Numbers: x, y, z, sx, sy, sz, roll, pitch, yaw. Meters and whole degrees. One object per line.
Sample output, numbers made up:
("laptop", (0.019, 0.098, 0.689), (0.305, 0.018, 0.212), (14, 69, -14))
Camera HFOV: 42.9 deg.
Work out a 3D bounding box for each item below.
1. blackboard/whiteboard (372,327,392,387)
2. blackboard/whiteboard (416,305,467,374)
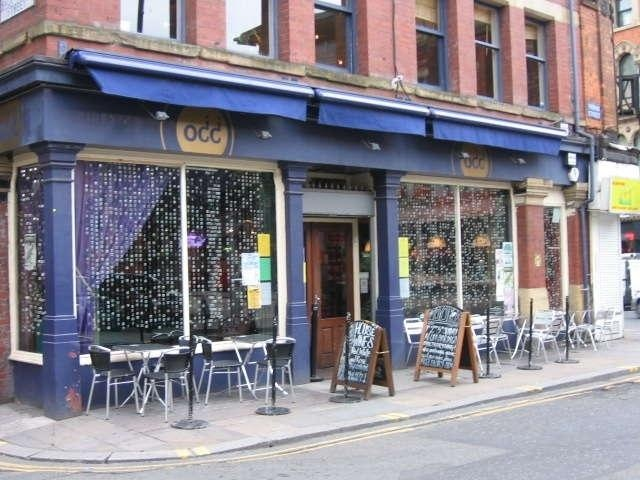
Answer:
("blackboard/whiteboard", (1.030, 2.005, 13.958), (0.230, 1.022, 0.294), (-2, 7, -14))
("blackboard/whiteboard", (2.335, 1.926, 15.294), (0.938, 1.355, 0.773), (2, 1, 40))
